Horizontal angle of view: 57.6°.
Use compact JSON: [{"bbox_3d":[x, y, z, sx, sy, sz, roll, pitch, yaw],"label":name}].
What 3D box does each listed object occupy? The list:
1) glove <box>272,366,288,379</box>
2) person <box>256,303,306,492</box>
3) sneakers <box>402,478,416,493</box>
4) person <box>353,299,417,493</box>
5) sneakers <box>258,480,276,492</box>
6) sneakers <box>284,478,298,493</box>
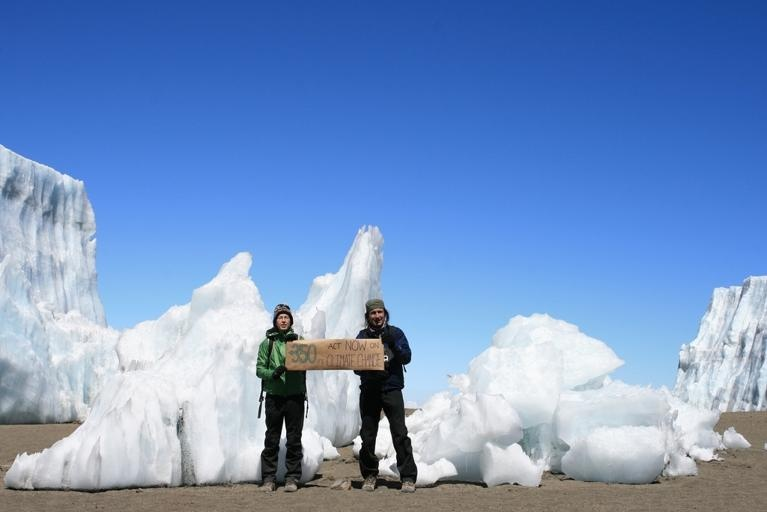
[{"bbox_3d":[-1.505,1.698,10.150,0.195,0.165,0.135,1,-14,-2],"label":"glove"},{"bbox_3d":[-1.508,2.106,10.327,0.700,2.667,0.758,-1,-14,4],"label":"person"},{"bbox_3d":[0.364,3.363,10.144,0.094,0.126,0.285,4,-32,-1],"label":"sneakers"},{"bbox_3d":[0.028,2.042,10.232,0.852,2.734,1.012,0,-14,1],"label":"person"},{"bbox_3d":[-1.691,3.407,10.268,0.116,0.095,0.209,3,2,1],"label":"sneakers"},{"bbox_3d":[-1.357,3.378,10.244,0.157,0.104,0.261,4,-10,-6],"label":"sneakers"}]
